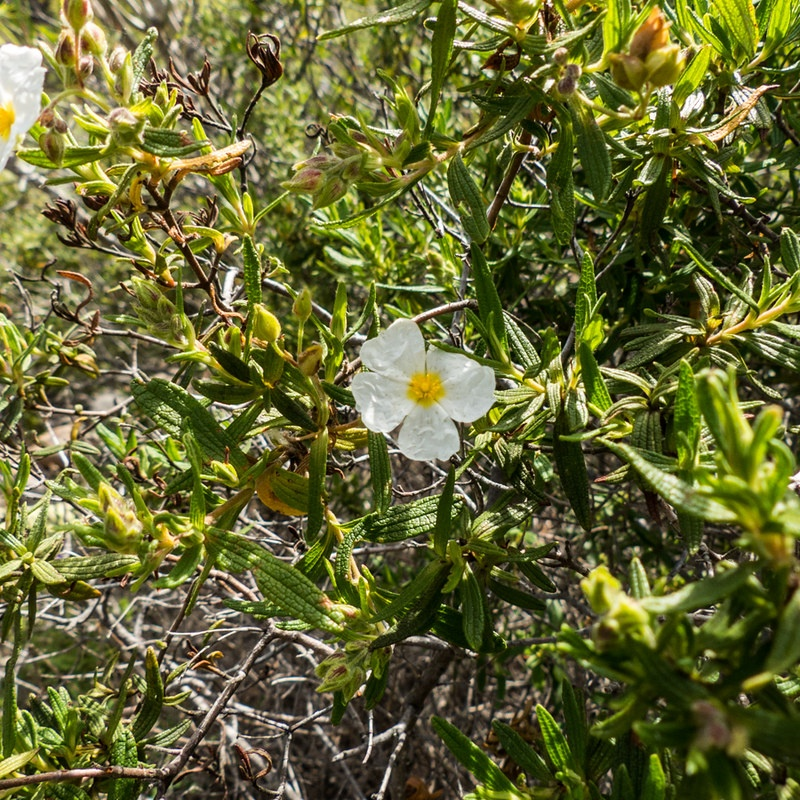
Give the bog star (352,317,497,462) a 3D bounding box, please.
[{"bbox_3d":[0.062,-0.035,2.164,0.373,0.380,0.110,20,63,-23],"label":"bog star"}]
